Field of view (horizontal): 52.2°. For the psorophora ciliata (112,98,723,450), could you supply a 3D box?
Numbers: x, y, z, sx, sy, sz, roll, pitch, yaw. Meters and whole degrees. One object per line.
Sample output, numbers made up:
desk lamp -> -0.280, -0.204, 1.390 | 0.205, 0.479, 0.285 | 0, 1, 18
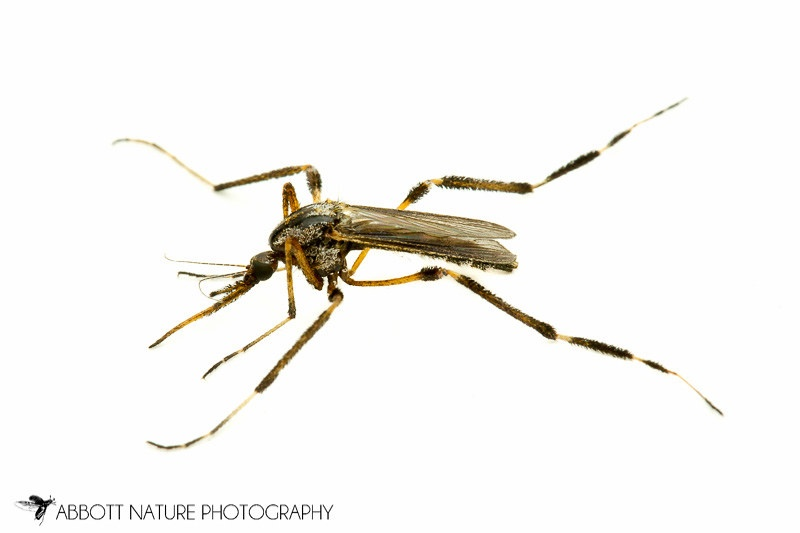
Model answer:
psorophora ciliata -> -0.063, -0.105, 6.246 | 3.944, 0.943, 2.918 | -6, 23, -7
